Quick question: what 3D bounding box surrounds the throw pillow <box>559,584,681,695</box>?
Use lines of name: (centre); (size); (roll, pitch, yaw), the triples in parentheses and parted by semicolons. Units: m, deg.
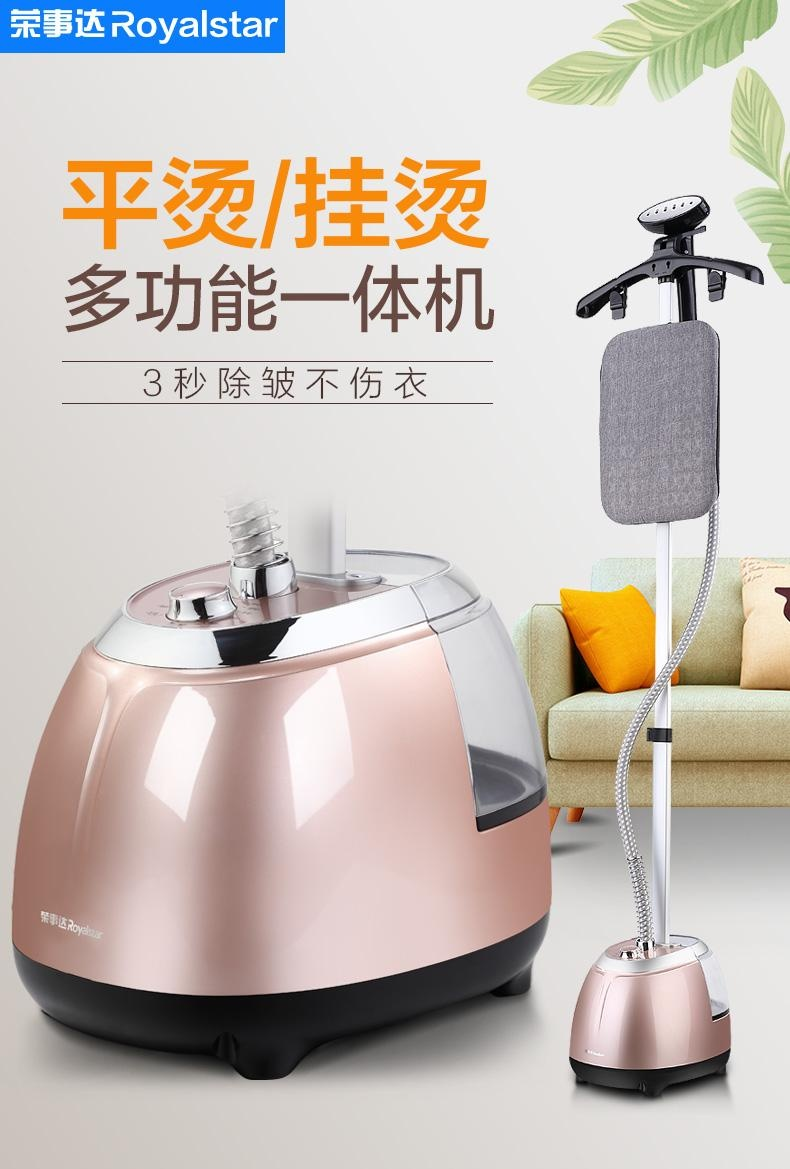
throw pillow: (0.531, 0.126, 2.498); (0.078, 0.239, 0.257); (-30, -12, 33)

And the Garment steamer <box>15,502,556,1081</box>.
Garment steamer: (-0.110, 0.237, 1.248); (0.492, 0.529, 0.553); (-1, 2, 45)

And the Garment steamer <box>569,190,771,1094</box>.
Garment steamer: (0.285, 0.053, 1.127); (0.188, 0.946, 0.225); (1, -1, 11)
